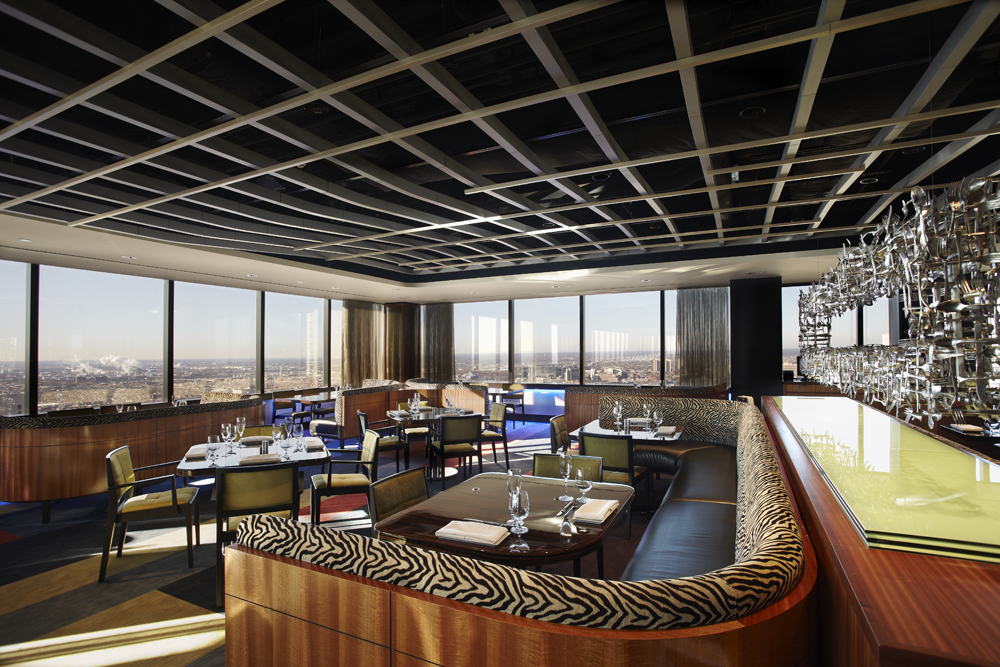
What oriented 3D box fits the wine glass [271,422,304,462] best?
[{"bbox_3d":[-2.270,1.165,6.182,0.296,0.103,0.579,1,0,-22],"label":"wine glass"}]
